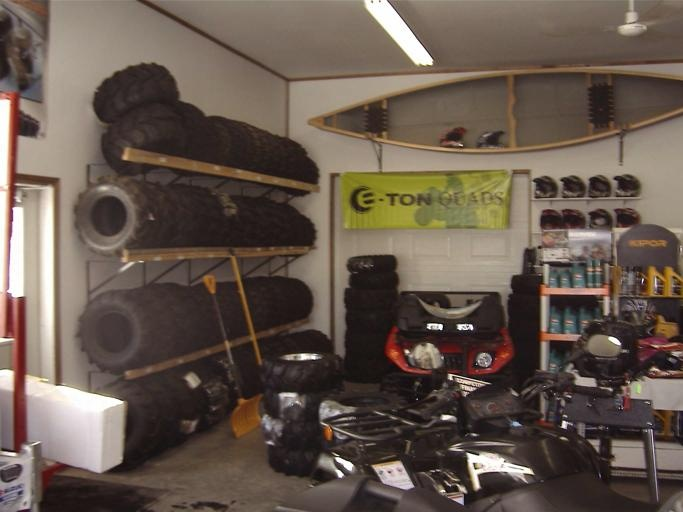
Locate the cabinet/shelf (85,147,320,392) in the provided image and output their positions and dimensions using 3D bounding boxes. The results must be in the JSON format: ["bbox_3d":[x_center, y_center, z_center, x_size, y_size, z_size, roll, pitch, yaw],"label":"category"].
[{"bbox_3d":[-1.119,-0.206,5.491,0.645,1.296,2.648,27,12,29],"label":"cabinet/shelf"}]

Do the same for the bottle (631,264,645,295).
[{"bbox_3d":[2.499,0.202,4.716,0.217,0.225,0.080,-9,14,-41],"label":"bottle"}]

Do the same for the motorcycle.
[{"bbox_3d":[0.509,0.711,2.518,1.215,0.658,0.813,4,10,23],"label":"motorcycle"}]

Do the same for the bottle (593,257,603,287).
[{"bbox_3d":[2.143,0.149,4.716,0.062,0.171,0.214,2,0,9],"label":"bottle"}]

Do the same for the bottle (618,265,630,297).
[{"bbox_3d":[2.350,0.217,4.672,0.107,0.228,0.039,3,12,18],"label":"bottle"}]
